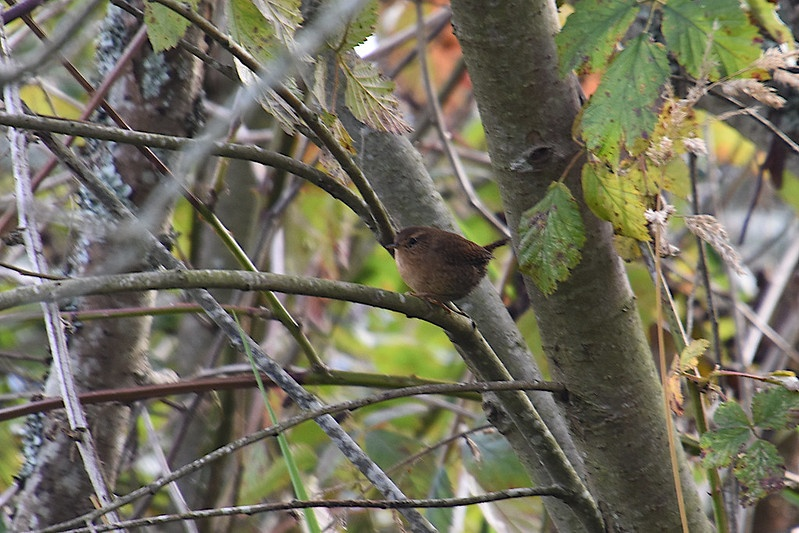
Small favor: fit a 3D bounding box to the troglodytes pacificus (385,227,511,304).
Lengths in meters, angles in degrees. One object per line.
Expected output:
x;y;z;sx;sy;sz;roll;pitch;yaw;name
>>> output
0.220;-0.026;4.548;0.496;0.346;0.293;-9;-1;-29;troglodytes pacificus
